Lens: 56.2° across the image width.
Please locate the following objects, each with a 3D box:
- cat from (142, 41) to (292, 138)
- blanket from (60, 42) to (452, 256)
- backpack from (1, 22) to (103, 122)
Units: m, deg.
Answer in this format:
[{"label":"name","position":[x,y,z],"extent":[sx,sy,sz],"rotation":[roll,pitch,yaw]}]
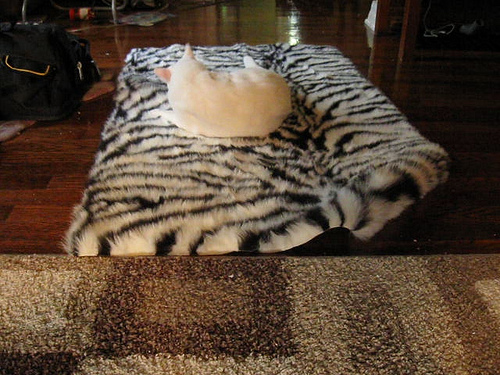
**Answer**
[{"label":"cat","position":[-0.129,-0.422,2.019],"extent":[0.567,0.162,0.352],"rotation":[15,47,19]},{"label":"blanket","position":[0.052,-0.279,2.222],"extent":[1.626,0.243,1.443],"rotation":[-4,38,-3]},{"label":"backpack","position":[-1.005,-0.584,2.333],"extent":[0.396,0.358,0.493],"rotation":[-3,41,-1]}]
